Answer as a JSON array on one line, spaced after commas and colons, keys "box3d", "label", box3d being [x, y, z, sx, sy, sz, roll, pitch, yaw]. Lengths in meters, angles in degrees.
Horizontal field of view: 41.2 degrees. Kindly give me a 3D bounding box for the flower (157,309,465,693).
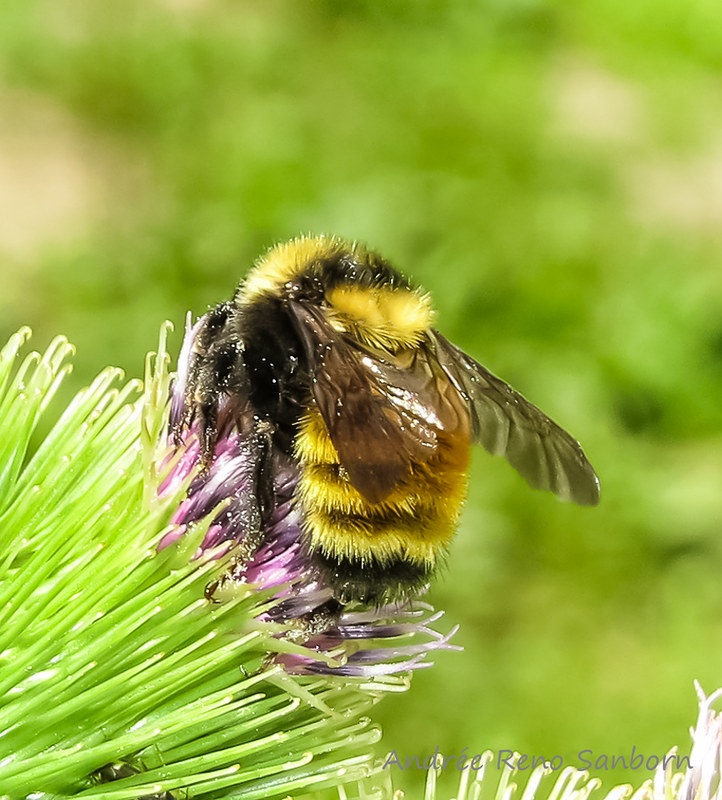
[{"box3d": [-0.082, 0.109, 0.973, 0.114, 0.331, 0.273, -25, -17, 40], "label": "flower"}]
